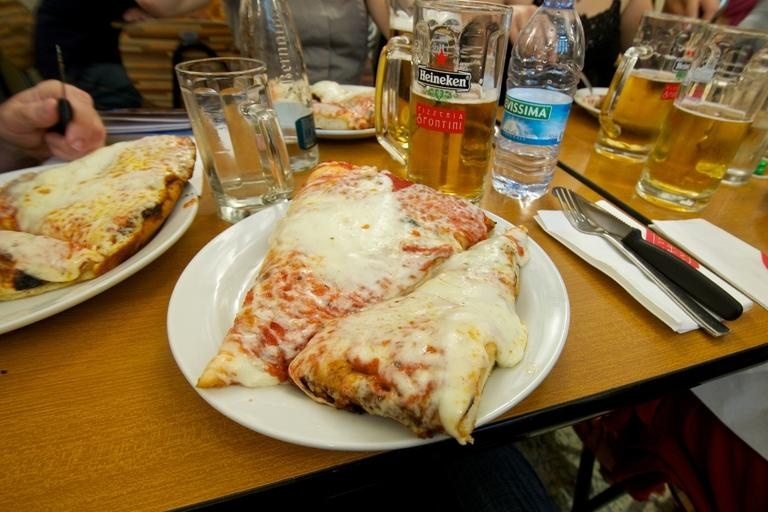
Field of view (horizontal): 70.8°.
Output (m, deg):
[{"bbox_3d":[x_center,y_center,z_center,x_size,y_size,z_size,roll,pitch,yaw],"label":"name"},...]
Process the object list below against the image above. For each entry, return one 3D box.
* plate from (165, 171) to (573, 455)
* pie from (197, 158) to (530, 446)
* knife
[{"bbox_3d":[-0.030,0.130,1.137,0.815,0.160,0.534,5,39,5],"label":"plate"},{"bbox_3d":[-0.092,0.045,1.137,0.511,0.117,0.556,10,53,12],"label":"pie"},{"bbox_3d":[0.591,-0.068,1.358,0.129,0.077,0.655,-36,43,3],"label":"knife"}]
